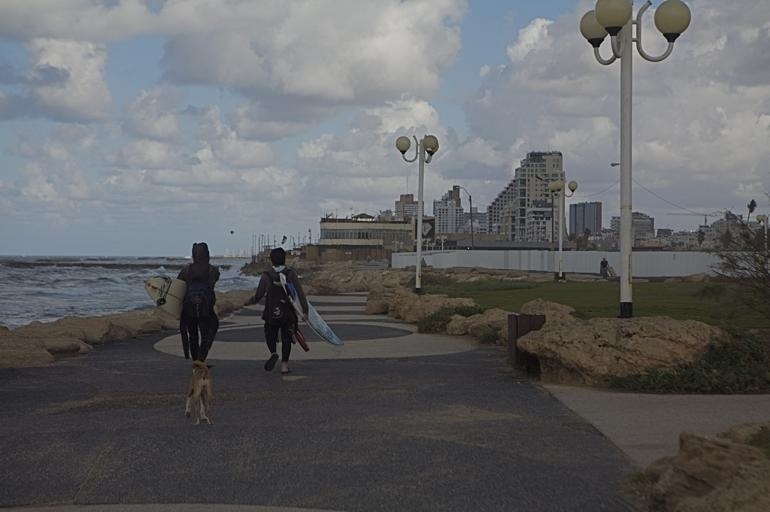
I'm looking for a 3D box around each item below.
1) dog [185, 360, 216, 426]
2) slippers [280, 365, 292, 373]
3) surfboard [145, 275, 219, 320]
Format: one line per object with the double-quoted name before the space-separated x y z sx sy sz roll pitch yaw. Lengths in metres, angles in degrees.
"dog" -2.917 2.082 10.847 0.380 0.963 0.660 0 2 -17
"slippers" -2.100 2.413 14.630 0.135 0.147 0.397 0 -6 -5
"surfboard" -4.188 0.788 13.625 0.935 0.593 0.587 23 -11 -8
